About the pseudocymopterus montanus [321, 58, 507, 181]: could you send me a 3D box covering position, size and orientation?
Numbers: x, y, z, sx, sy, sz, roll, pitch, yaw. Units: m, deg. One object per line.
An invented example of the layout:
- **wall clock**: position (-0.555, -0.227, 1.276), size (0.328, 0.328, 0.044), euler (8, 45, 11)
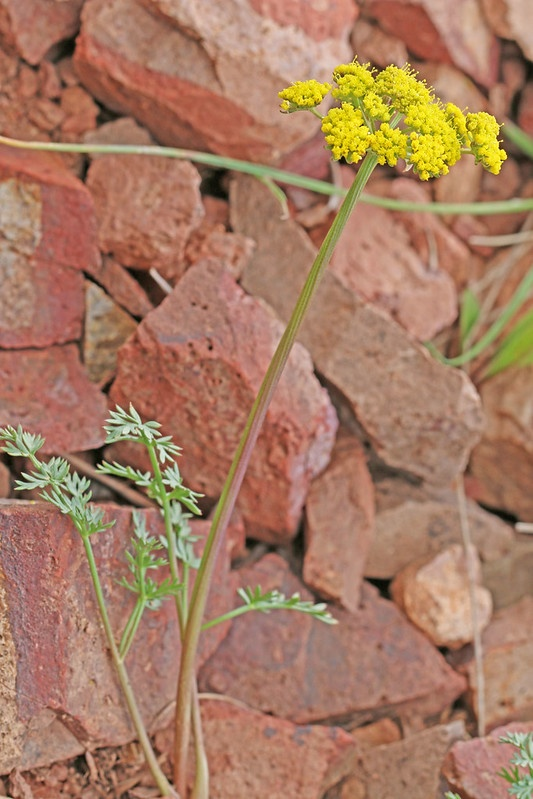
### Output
- **pseudocymopterus montanus**: position (0.108, -0.221, 0.703), size (0.146, 0.044, 0.093), euler (14, 83, -7)
